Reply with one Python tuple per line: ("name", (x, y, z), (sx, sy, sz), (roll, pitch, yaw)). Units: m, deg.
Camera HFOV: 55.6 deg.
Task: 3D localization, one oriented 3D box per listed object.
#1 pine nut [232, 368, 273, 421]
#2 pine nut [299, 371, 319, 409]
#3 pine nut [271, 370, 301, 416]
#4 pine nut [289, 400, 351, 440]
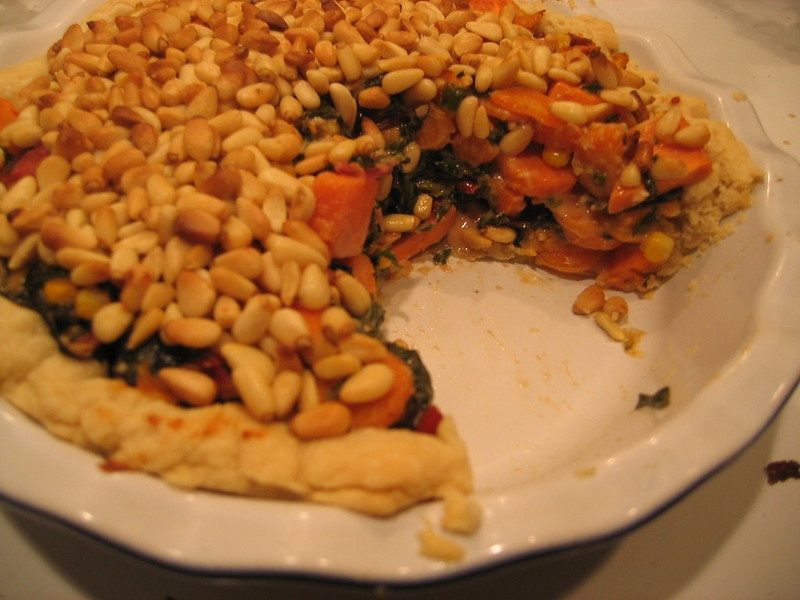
("pine nut", (-0.365, 0.224, 1.888), (0.079, 0.047, 0.146), (-26, 84, 9))
("pine nut", (-0.236, 0.231, 1.938), (0.046, 0.028, 0.086), (-2, 84, -3))
("pine nut", (-0.280, 0.235, 1.911), (0.074, 0.055, 0.104), (4, 83, 11))
("pine nut", (-0.203, 0.308, 1.922), (0.152, 0.046, 0.083), (-10, 63, -8))
